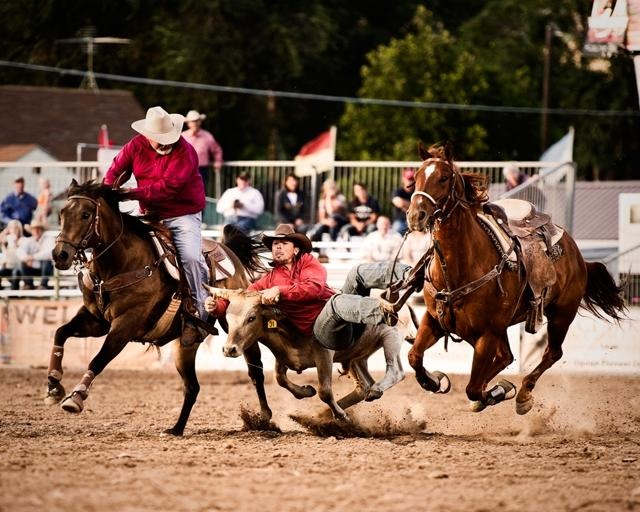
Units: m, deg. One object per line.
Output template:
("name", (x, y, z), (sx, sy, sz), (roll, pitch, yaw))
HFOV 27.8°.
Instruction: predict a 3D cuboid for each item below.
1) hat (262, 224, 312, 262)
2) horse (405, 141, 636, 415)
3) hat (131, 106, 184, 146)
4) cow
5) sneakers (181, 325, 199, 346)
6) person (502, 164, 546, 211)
("hat", (-0.405, -0.158, 15.939), (0.404, 0.186, 0.471), (0, -28, 19))
("horse", (2.052, 0.325, 15.787), (2.713, 3.380, 0.872), (-6, 8, -44))
("hat", (-2.031, -1.652, 15.879), (0.647, 0.307, 0.754), (-5, 18, -20))
("cow", (0.090, 1.145, 15.556), (3.022, 1.886, 0.775), (-1, -8, -37))
("sneakers", (-1.600, 0.953, 15.854), (0.212, 0.262, 0.599), (2, -2, -7))
("person", (3.301, -1.109, 20.542), (0.304, 0.623, 1.353), (-8, 9, -6))
